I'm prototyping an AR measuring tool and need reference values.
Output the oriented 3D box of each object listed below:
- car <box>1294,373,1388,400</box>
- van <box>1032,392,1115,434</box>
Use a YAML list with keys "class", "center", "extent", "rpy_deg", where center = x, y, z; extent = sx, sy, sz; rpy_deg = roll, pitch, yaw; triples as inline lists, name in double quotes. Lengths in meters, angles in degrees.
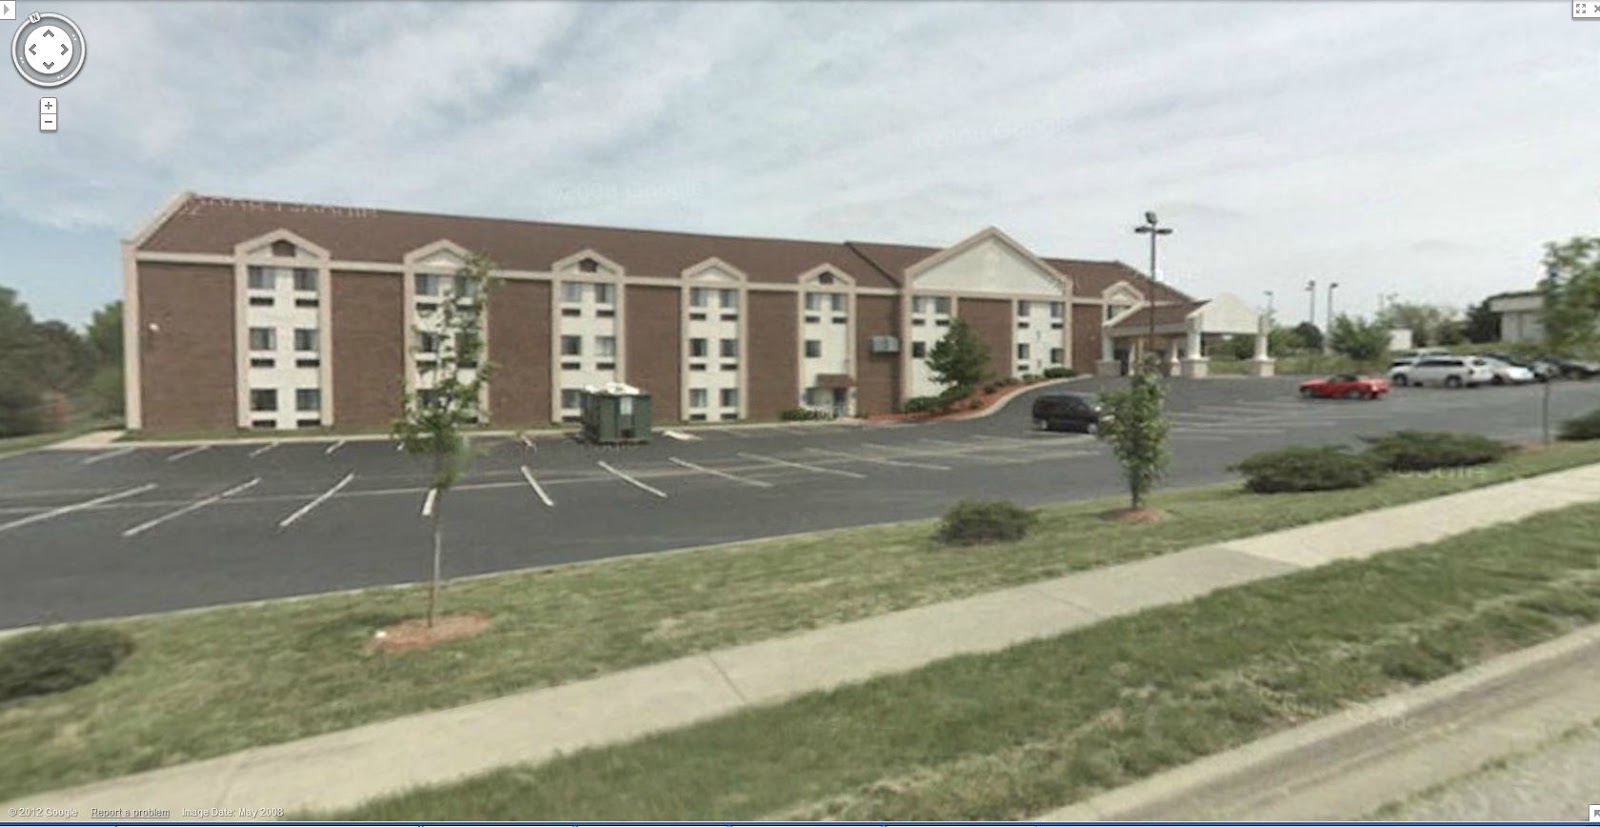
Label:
- class: "car"
  center: [29.834, -1.360, 57.405]
  extent: [3.227, 0.816, 1.981]
  rpy_deg: [0, 3, 39]
- class: "van"
  center: [13.382, -0.026, 53.154]
  extent: [4.547, 1.594, 2.209]
  rpy_deg: [-2, 1, 44]
